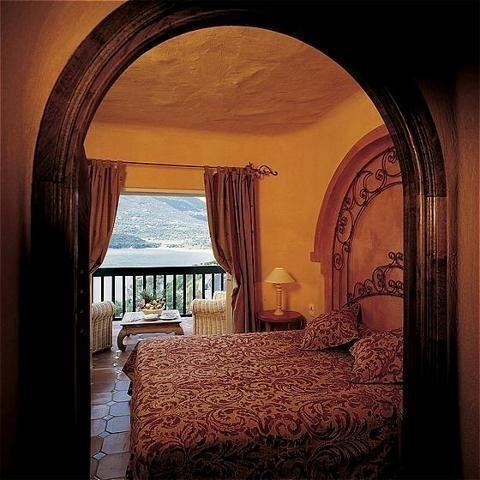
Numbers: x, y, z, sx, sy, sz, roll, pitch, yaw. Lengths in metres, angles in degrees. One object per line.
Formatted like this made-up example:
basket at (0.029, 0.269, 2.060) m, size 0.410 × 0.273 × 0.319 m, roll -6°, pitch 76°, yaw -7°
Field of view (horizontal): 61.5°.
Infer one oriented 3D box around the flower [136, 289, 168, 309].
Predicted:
flower at (-1.125, 0.764, 5.067) m, size 0.249 × 0.180 × 0.274 m, roll 0°, pitch 7°, yaw -5°

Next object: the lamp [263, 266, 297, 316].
lamp at (0.434, 0.517, 4.341) m, size 0.380 × 0.626 × 0.407 m, roll 0°, pitch 1°, yaw 42°

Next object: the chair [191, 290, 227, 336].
chair at (-0.391, 0.888, 4.942) m, size 0.381 × 0.485 × 0.450 m, roll 0°, pitch -3°, yaw 9°
